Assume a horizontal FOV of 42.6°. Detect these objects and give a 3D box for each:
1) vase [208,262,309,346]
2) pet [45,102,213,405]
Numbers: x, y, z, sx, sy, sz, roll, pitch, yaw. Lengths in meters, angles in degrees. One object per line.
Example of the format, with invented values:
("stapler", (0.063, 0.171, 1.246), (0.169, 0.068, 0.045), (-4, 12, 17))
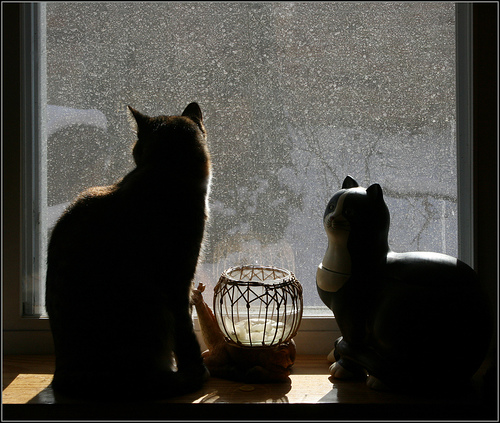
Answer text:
("vase", (0.013, 0.259, 1.722), (0.219, 0.183, 0.224), (3, -7, -21))
("pet", (-0.299, 0.104, 1.601), (0.412, 0.711, 0.208), (-2, 8, -7))
